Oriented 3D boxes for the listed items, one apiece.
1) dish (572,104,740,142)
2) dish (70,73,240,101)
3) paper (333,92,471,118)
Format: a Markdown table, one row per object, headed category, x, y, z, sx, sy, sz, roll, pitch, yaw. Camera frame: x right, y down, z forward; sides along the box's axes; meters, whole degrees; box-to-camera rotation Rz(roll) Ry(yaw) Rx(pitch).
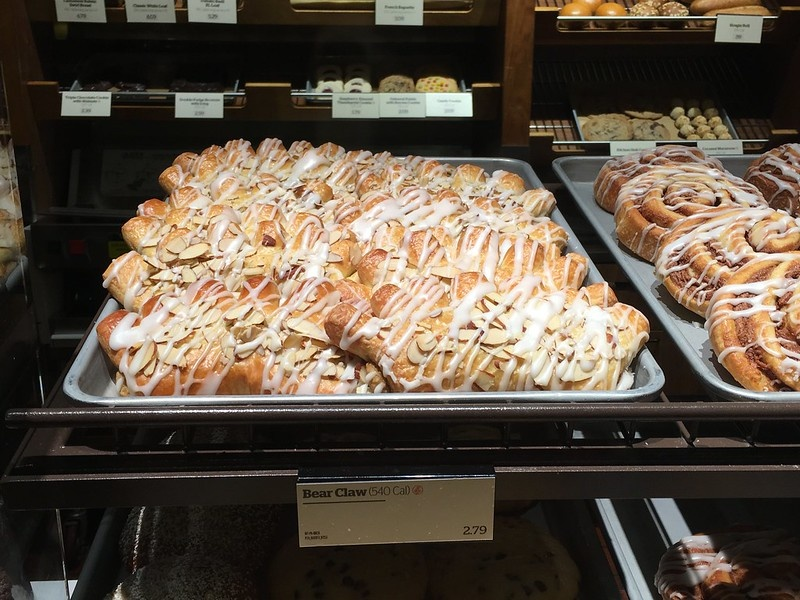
| category | x | y | z | sx | sy | sz | roll | pitch | yaw |
| --- | --- | --- | --- | --- | --- | --- | --- | --- | --- |
| dish | 0.856 | -0.584 | 1.979 | 0.561 | 0.078 | 0.293 | -10 | 36 | -18 |
| dish | -0.765 | -0.645 | 1.808 | 0.318 | 0.042 | 0.190 | 1 | 29 | -3 |
| paper | 0.012 | -0.547 | 1.675 | 0.408 | 0.068 | 0.079 | 0 | 34 | -3 |
